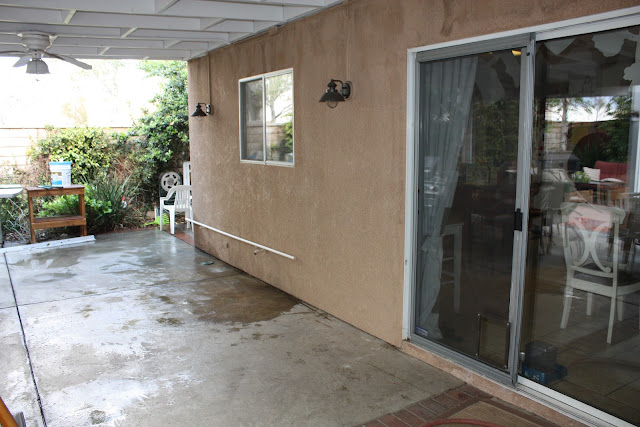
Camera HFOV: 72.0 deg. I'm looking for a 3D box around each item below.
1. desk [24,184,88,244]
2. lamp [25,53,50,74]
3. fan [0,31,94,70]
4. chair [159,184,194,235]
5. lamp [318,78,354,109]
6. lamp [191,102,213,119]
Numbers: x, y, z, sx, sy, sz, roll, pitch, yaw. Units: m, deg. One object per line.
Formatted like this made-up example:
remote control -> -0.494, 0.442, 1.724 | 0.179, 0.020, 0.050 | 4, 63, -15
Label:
desk -> -5.702, 0.032, 9.482 | 1.115, 1.081, 0.548 | -9, 6, -38
lamp -> -4.173, -2.204, 6.474 | 0.275, 0.258, 0.300 | -10, 17, -32
fan -> -4.264, -2.408, 6.594 | 1.091, 0.602, 0.782 | 12, 18, 40
chair -> -3.342, -0.116, 10.445 | 0.881, 1.002, 0.901 | 0, 3, 28
lamp -> 0.169, -1.474, 5.389 | 0.432, 0.328, 0.319 | -1, 3, -41
lamp -> -2.200, -1.953, 8.243 | 0.345, 0.269, 0.532 | -4, 14, -15
